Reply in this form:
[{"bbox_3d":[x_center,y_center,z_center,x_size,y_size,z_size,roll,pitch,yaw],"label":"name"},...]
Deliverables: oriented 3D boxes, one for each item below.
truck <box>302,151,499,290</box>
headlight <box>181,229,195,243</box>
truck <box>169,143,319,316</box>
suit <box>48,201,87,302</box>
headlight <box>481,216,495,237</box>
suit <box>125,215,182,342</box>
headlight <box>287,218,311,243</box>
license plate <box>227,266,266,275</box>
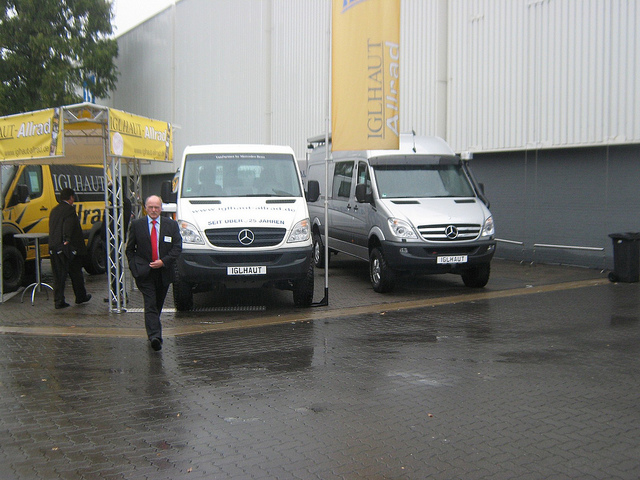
[{"bbox_3d":[1.768,-0.930,13.898,2.933,3.555,6.451,-2,5,-16],"label":"truck"},{"bbox_3d":[-2.292,-0.058,9.243,0.244,0.223,0.093,1,4,26],"label":"headlight"},{"bbox_3d":[-1.581,-0.387,11.150,1.796,2.504,3.918,0,-3,-8],"label":"truck"},{"bbox_3d":[-4.948,0.185,10.664,0.786,2.221,0.612,1,2,17],"label":"suit"},{"bbox_3d":[3.468,-0.267,11.069,0.231,0.440,0.154,0,-1,29],"label":"headlight"},{"bbox_3d":[-2.340,0.500,7.589,0.634,1.714,0.806,-1,2,-26],"label":"suit"},{"bbox_3d":[-0.359,-0.144,9.486,0.293,0.167,0.424,-2,12,-35],"label":"headlight"},{"bbox_3d":[-1.260,0.531,9.161,0.637,0.143,0.020,-1,3,-6],"label":"license plate"}]
